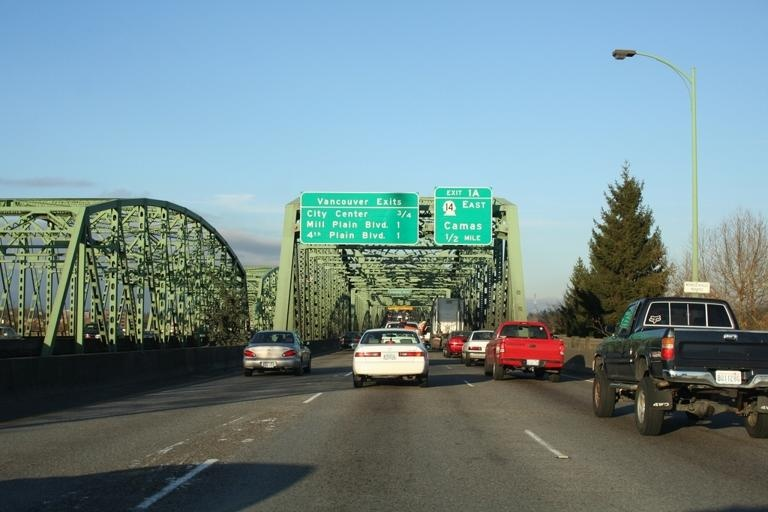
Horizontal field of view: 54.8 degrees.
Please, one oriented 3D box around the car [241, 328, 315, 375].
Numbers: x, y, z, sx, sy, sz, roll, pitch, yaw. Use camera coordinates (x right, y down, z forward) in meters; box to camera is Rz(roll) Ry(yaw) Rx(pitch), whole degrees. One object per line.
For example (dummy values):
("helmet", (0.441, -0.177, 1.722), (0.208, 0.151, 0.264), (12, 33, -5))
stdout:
("car", (-4.170, 3.778, 29.228), (1.720, 1.559, 4.716), (-1, -3, 2))
